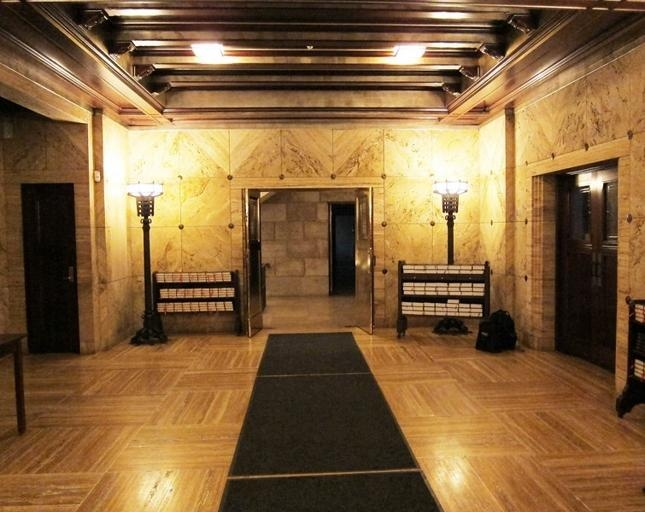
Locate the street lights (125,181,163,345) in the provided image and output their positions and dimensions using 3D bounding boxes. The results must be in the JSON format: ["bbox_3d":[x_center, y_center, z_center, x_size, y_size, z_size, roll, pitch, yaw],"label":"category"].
[{"bbox_3d":[-2.697,0.128,7.396,0.573,2.436,0.979,-3,13,-17],"label":"street lights"}]

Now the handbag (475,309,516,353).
[{"bbox_3d":[2.375,1.041,6.612,0.579,0.611,0.480,8,-7,-30],"label":"handbag"}]

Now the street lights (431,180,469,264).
[{"bbox_3d":[1.962,-0.522,7.620,0.462,1.330,0.812,3,12,12],"label":"street lights"}]
